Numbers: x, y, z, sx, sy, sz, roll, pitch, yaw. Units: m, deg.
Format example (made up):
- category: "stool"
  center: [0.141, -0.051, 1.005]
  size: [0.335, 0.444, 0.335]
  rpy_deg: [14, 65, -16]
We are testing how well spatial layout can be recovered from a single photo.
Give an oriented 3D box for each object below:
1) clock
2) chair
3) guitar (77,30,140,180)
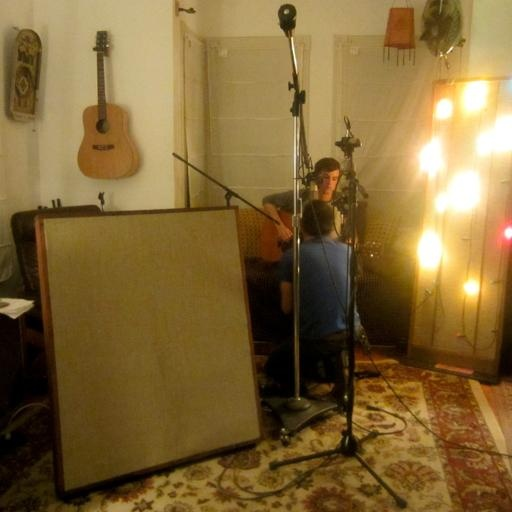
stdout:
- category: "clock"
  center: [-1.391, -1.093, 3.308]
  size: [0.092, 0.524, 0.317]
  rpy_deg: [3, 14, 14]
- category: "chair"
  center: [-1.191, 0.046, 3.236]
  size: [0.415, 0.634, 0.557]
  rpy_deg: [-7, 15, -25]
- category: "guitar"
  center: [-0.916, -0.920, 3.337]
  size: [0.357, 0.862, 0.186]
  rpy_deg: [-2, 13, -9]
